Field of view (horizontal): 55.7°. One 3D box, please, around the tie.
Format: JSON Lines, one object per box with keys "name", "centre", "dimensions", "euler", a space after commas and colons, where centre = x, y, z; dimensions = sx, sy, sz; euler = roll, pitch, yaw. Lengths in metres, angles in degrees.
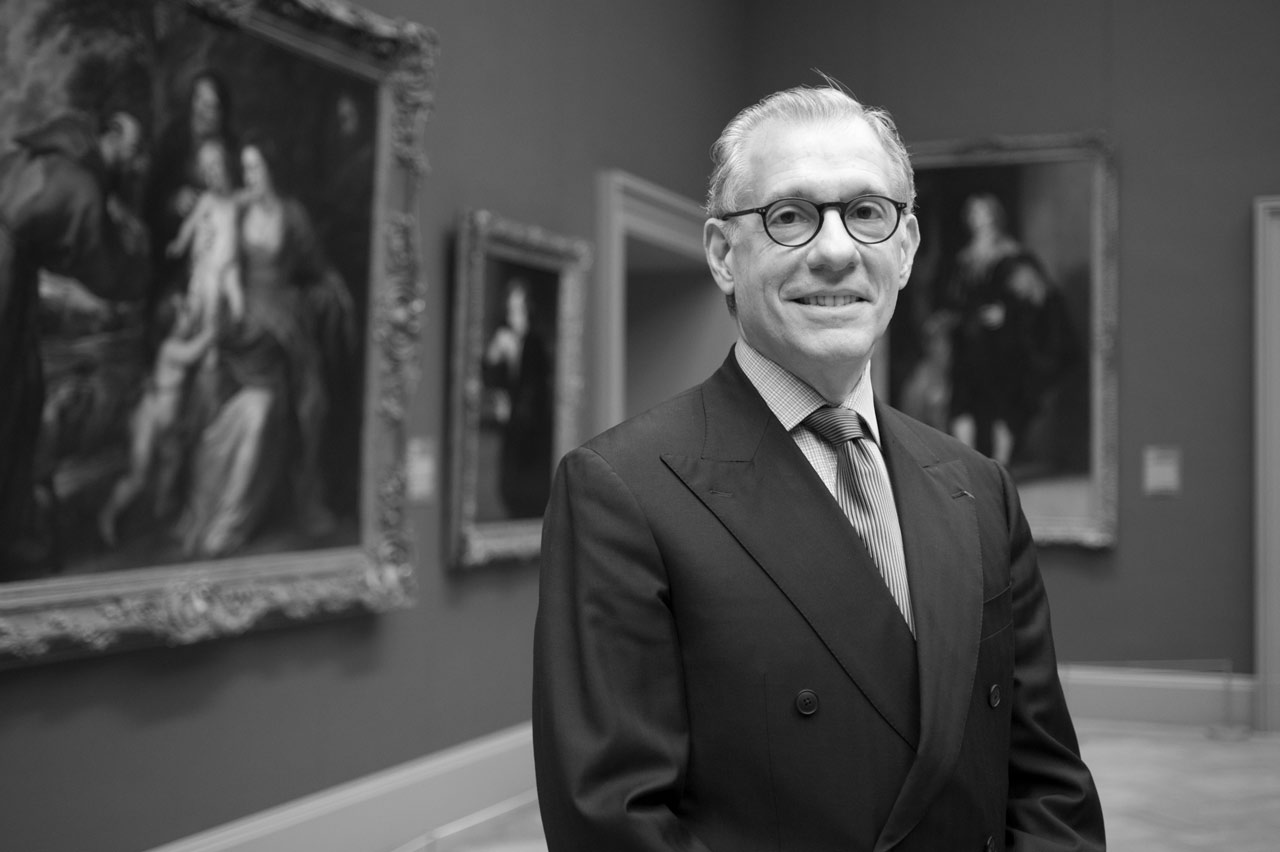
{"name": "tie", "centre": [0.555, 0.187, 3.226], "dimensions": [0.181, 0.692, 0.155], "euler": [-4, -22, -20]}
